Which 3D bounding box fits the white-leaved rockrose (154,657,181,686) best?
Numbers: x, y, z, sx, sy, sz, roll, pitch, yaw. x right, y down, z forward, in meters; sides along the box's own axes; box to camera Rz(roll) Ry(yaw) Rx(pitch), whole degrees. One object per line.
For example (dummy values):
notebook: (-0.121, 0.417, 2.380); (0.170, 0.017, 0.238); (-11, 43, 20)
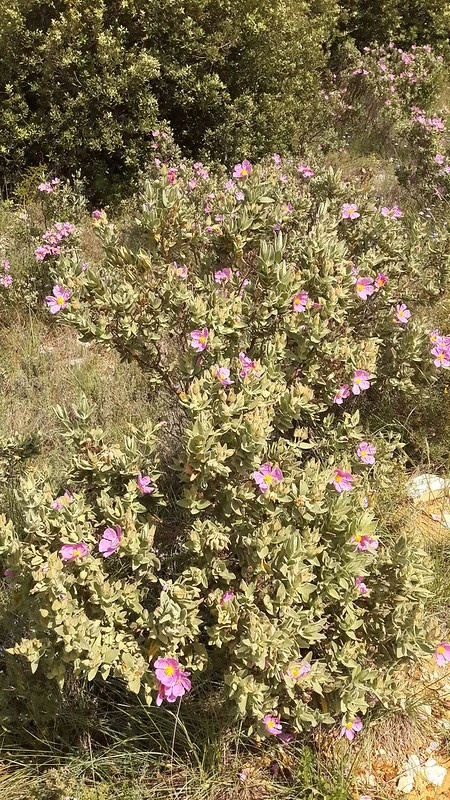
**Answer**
white-leaved rockrose: (-0.203, 0.963, 2.471); (0.092, 0.115, 0.060); (6, 24, -3)
